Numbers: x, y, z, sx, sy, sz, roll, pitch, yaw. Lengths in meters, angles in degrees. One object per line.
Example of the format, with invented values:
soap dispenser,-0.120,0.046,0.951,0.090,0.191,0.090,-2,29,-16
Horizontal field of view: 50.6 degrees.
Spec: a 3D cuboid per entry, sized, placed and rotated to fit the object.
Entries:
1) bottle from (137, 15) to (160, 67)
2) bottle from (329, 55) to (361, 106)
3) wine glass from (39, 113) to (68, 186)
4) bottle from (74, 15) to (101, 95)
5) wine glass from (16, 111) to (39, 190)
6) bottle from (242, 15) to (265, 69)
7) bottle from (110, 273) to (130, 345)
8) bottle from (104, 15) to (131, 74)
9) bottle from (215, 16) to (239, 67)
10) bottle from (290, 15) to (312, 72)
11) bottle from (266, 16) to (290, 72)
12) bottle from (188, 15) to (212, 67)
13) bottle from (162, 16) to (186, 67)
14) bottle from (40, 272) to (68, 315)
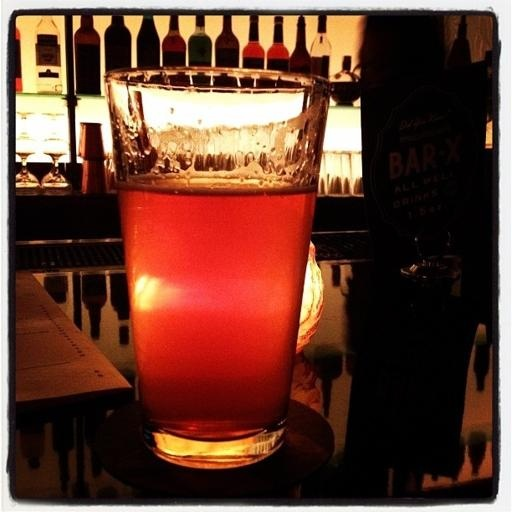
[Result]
bottle,-0.384,-0.760,1.912,0.082,0.188,0.154,-1,9,-10
bottle,0.340,-0.662,2.045,0.103,0.180,0.101,0,16,0
wine glass,-0.715,-0.371,1.913,0.094,0.261,0.205,-3,9,-19
bottle,-0.598,-0.708,1.913,0.088,0.284,0.135,-2,9,-16
wine glass,-0.803,-0.376,1.872,0.092,0.250,0.093,-1,23,-27
bottle,-0.012,-0.780,1.988,0.086,0.188,0.231,0,9,0
bottle,-0.143,0.057,0.564,0.016,0.017,0.073,2,48,-18
bottle,-0.498,-0.755,1.906,0.096,0.188,0.175,0,9,-5
bottle,-0.109,-0.778,1.975,0.088,0.196,0.207,0,9,-2
bottle,0.163,-0.792,2.031,0.078,0.200,0.252,2,9,11
bottle,0.079,-0.771,1.965,0.081,0.194,0.240,1,9,2
bottle,-0.208,-0.780,1.946,0.085,0.180,0.194,0,9,-2
bottle,-0.291,-0.756,1.907,0.085,0.181,0.158,-1,9,-10
bottle,-0.240,0.045,0.639,0.028,0.061,0.037,0,-2,-15
